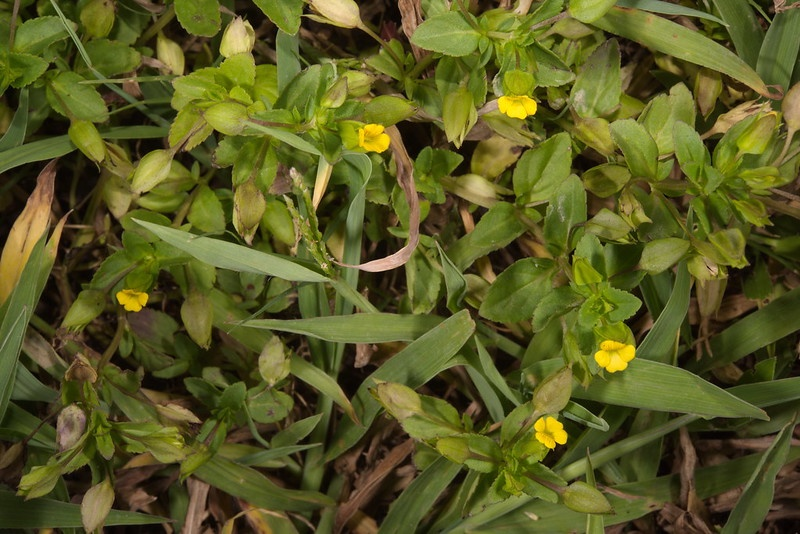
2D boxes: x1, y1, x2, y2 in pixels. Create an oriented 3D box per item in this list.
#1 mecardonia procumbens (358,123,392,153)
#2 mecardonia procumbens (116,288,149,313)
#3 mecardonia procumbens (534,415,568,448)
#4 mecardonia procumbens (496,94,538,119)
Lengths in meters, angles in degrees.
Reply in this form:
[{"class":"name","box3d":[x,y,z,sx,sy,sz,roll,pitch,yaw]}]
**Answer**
[{"class":"mecardonia procumbens","box3d":[-0.056,-0.280,1.461,0.062,0.032,0.064,-26,113,-11]},{"class":"mecardonia procumbens","box3d":[-0.650,0.092,1.637,0.063,0.031,0.067,4,74,-10]},{"class":"mecardonia procumbens","box3d":[0.336,0.365,1.479,0.072,0.034,0.067,43,101,6]},{"class":"mecardonia procumbens","box3d":[0.266,-0.362,1.507,0.081,0.030,0.046,1,68,-1]}]
